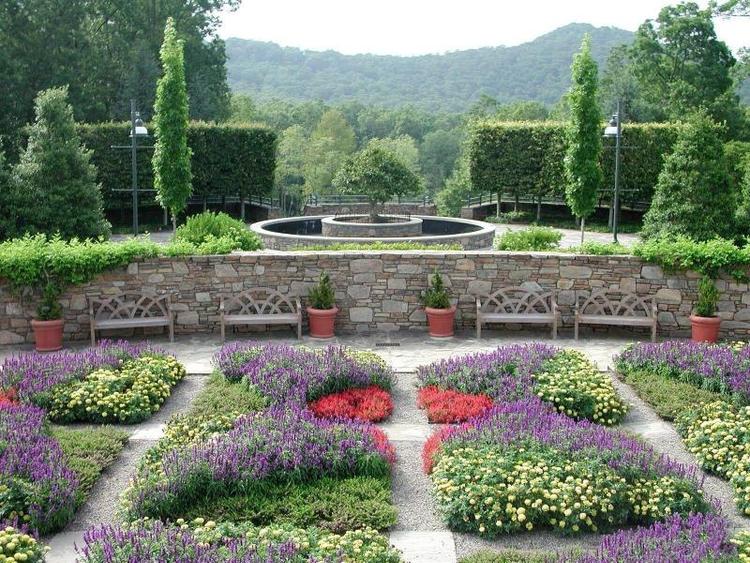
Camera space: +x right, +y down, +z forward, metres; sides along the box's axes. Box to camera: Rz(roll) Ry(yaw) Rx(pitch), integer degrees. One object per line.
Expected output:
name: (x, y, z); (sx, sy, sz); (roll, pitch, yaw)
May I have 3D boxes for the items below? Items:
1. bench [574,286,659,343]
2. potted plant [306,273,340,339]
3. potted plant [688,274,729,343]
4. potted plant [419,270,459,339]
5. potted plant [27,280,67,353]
bench: (4.457, 0.602, 15.437); (1.424, 0.980, 0.563); (1, 2, 15)
potted plant: (-0.972, 0.436, 15.629); (0.635, 1.165, 0.546); (-3, 8, -24)
potted plant: (6.040, 0.512, 15.149); (0.494, 1.144, 0.539); (-2, 5, 0)
potted plant: (1.221, 0.401, 15.771); (0.594, 1.229, 0.573); (1, 8, 2)
potted plant: (-5.832, 0.565, 14.842); (0.532, 1.261, 0.642); (-2, 8, -22)
